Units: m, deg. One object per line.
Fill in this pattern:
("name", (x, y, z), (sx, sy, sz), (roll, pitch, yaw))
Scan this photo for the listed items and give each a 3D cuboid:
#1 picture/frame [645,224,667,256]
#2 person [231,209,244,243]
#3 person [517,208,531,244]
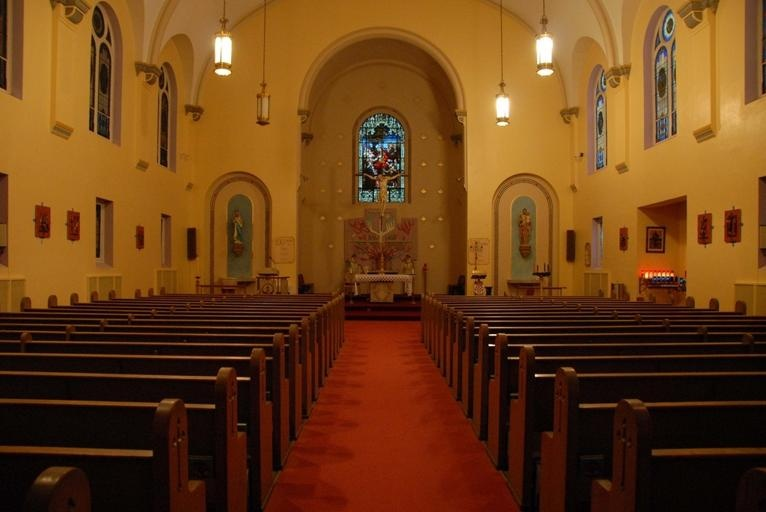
("picture/frame", (6.415, -0.381, 16.061), (0.637, 1.021, 0.073), (1, -4, -8))
("person", (-4.250, -0.837, 19.900), (0.370, 0.997, 0.272), (0, -3, -11))
("person", (4.234, -0.870, 20.104), (0.436, 1.042, 0.192), (1, -3, -22))
